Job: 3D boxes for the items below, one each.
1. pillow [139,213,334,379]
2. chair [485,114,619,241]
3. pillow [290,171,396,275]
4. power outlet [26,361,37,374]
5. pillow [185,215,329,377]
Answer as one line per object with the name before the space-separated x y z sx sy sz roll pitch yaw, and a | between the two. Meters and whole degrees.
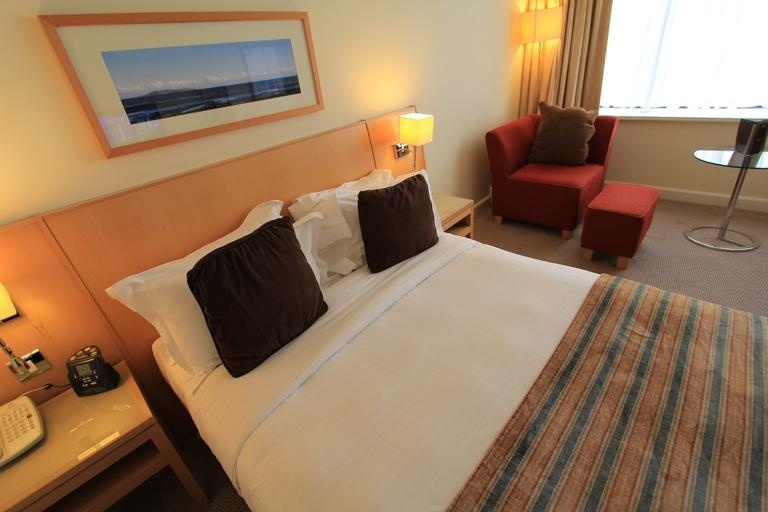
pillow | -0.835 0.258 2.777 0.940 0.844 0.273 -38 15 -32
chair | 1.642 -0.919 4.857 1.131 1.178 1.165 15 43 28
pillow | -0.334 -0.174 3.369 0.614 0.767 0.221 -25 21 -27
power outlet | -2.024 0.636 2.782 0.020 0.063 0.058 5 64 36
pillow | -0.760 0.263 2.835 0.694 0.606 0.338 -31 34 -30
